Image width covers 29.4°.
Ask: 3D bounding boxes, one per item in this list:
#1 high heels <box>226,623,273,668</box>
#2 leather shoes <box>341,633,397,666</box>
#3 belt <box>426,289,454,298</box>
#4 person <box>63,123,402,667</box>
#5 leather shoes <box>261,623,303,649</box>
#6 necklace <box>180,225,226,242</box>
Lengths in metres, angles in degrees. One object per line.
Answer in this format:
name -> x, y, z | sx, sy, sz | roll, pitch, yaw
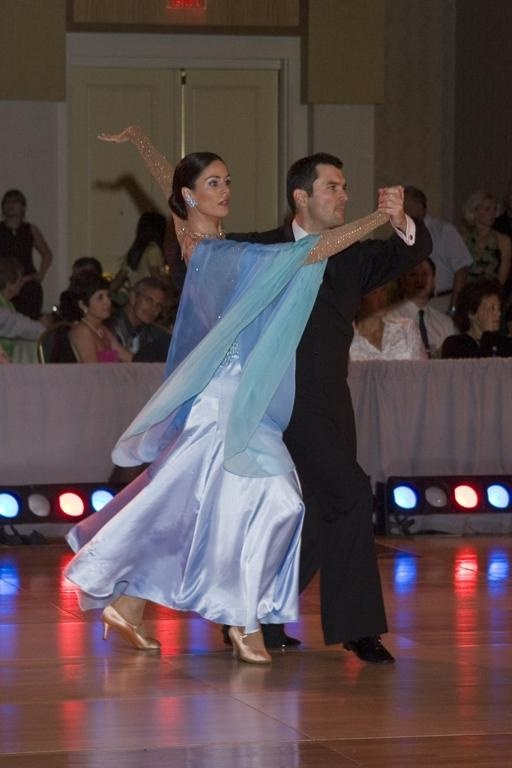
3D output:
high heels -> -0.018, 0.696, 2.561 | 0.056, 0.067, 0.158 | 13, -4, -36
leather shoes -> 0.305, 0.708, 2.627 | 0.140, 0.056, 0.052 | 12, 23, 44
belt -> 1.350, -0.659, 7.168 | 0.116, 0.023, 0.099 | -8, 0, -30
person -> -0.079, 0.020, 2.699 | 0.809, 1.374, 0.397 | 2, 0, 13
leather shoes -> 0.060, 0.722, 2.787 | 0.133, 0.075, 0.048 | -1, 1, -16
necklace -> -0.154, -0.418, 2.745 | 0.084, 0.029, 0.065 | 0, -3, -12
